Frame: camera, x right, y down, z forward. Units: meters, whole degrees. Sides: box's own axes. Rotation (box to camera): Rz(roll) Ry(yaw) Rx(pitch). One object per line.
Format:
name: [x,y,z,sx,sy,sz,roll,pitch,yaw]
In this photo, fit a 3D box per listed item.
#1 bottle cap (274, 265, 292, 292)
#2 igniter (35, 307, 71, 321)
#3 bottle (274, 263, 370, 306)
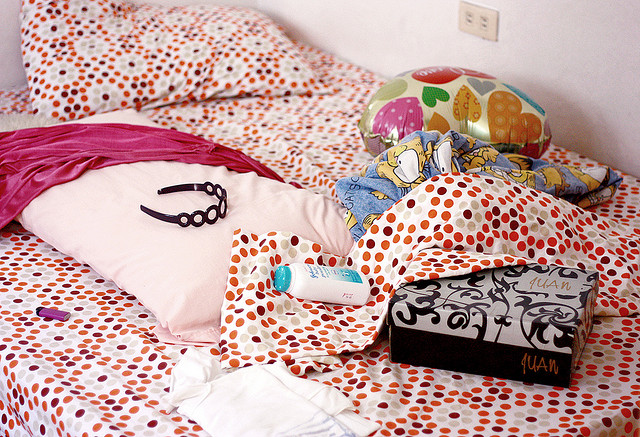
bottle cap: [-0.091,0.145,1.320,0.013,0.056,0.054,-2,52,-31]
igniter: [-0.679,0.241,1.382,0.065,0.035,0.015,10,97,15]
bottle: [0.005,0.156,1.345,0.231,0.087,0.080,1,53,-1]
